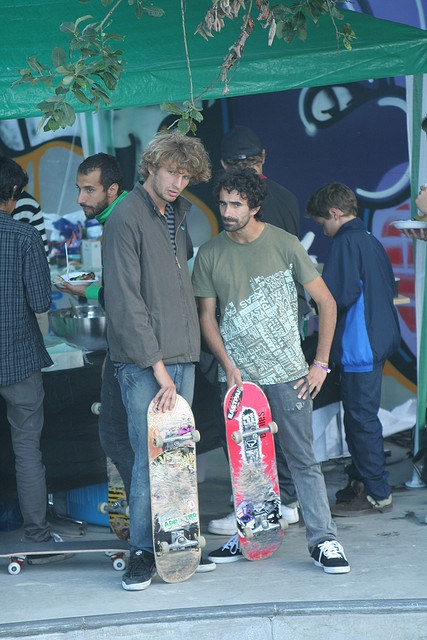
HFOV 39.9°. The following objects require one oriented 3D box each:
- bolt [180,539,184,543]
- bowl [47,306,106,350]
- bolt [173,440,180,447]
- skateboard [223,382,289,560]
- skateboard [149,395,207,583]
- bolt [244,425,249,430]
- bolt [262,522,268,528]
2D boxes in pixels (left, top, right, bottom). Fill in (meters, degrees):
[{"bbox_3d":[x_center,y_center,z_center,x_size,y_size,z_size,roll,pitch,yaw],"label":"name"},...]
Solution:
[{"bbox_3d":[-0.123,0.860,2.280,0.015,0.013,0.003,7,-7,-5],"label":"bolt"},{"bbox_3d":[-0.699,0.077,3.054,0.299,0.146,0.283,-4,-6,0],"label":"bowl"},{"bbox_3d":[-0.145,0.484,2.292,0.023,0.020,0.006,-1,6,-25],"label":"bolt"},{"bbox_3d":[0.181,0.669,2.509,0.242,0.812,0.187,-10,9,-6],"label":"skateboard"},{"bbox_3d":[-0.169,0.675,2.351,0.215,0.722,0.110,-9,4,-24],"label":"skateboard"},{"bbox_3d":[0.140,0.456,2.475,0.018,0.016,0.002,-11,9,-22],"label":"bolt"},{"bbox_3d":[0.221,0.876,2.504,0.023,0.020,0.005,2,-3,-15],"label":"bolt"}]
